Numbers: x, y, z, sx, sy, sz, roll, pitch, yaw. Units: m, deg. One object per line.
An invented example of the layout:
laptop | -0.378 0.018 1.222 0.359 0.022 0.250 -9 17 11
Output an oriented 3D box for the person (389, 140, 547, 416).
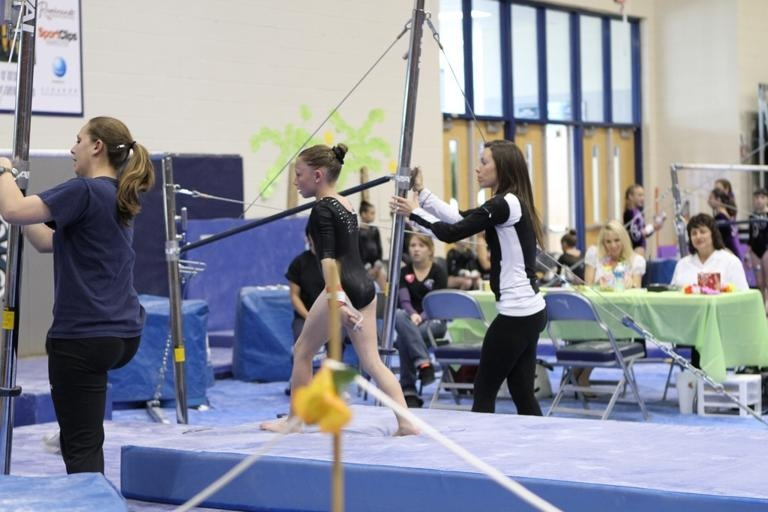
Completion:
person | 0.492 0.326 6.043 1.144 2.007 0.757 3 -1 -11

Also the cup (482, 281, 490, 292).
cup | 0.889 0.274 8.264 0.101 0.100 0.103 0 -6 0

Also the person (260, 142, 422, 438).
person | -0.238 0.197 5.393 0.660 1.718 0.834 -1 2 -28
